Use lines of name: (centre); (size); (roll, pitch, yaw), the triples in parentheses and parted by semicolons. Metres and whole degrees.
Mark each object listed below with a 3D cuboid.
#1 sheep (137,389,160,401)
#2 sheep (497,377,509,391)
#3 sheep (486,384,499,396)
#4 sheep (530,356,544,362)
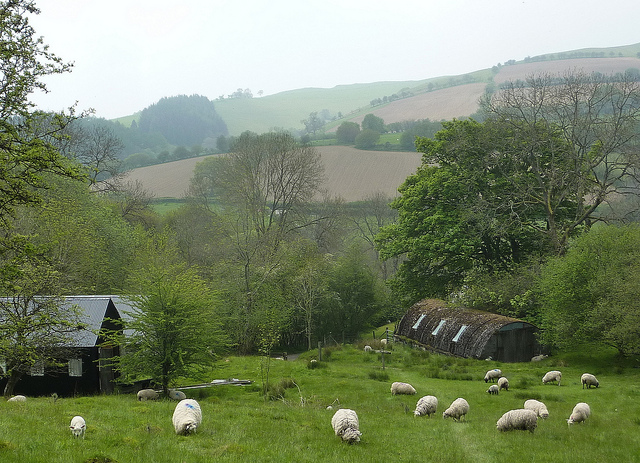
sheep: (-14.691, 13.805, 67.873); (1.789, 0.782, 1.407); (-1, 5, -16)
sheep: (15.115, 12.650, 66.285); (1.004, 1.045, 0.685); (0, 6, -6)
sheep: (14.128, 12.902, 65.510); (1.012, 0.607, 1.532); (2, 5, 14)
sheep: (21.145, 12.318, 77.858); (1.516, 0.387, 0.680); (-2, 6, -30)
